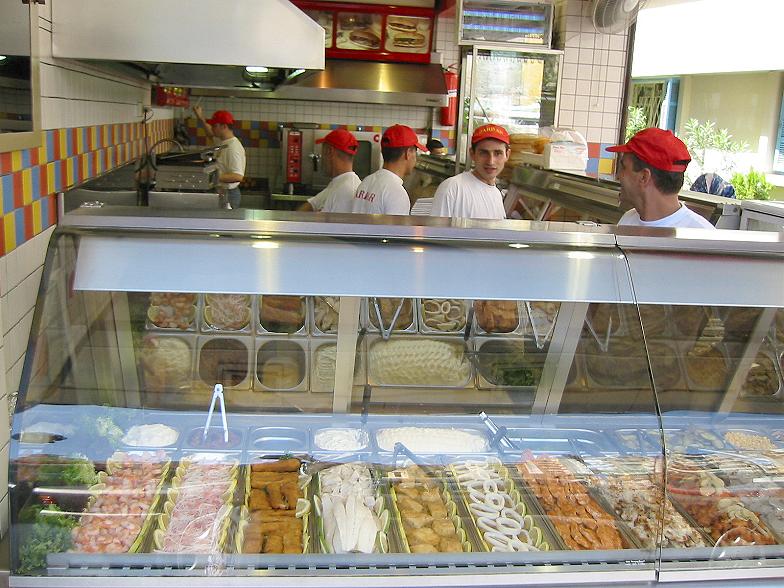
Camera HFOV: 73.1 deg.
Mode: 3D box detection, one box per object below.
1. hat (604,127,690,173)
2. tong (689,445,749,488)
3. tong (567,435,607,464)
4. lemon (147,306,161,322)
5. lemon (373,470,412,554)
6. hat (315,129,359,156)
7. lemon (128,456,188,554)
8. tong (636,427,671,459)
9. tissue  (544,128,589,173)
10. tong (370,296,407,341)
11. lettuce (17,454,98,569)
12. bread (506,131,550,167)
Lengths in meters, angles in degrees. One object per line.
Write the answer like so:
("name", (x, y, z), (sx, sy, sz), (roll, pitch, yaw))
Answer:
("hat", (1.112, -0.649, 2.307), (0.226, 0.135, 0.352), (-14, 32, -44))
("tong", (0.872, 0.468, 1.413), (0.122, 0.027, 0.113), (-1, 29, -11))
("tong", (0.519, 0.423, 1.429), (0.086, 0.070, 0.022), (-1, -22, 30))
("lemon", (-0.608, 0.050, 1.364), (0.036, 0.036, 0.023), (-5, 31, -22))
("lemon", (-0.001, 0.557, 1.327), (0.035, 0.054, 0.224), (-5, 54, -17))
("hat", (-0.396, -1.127, 3.821), (0.199, 0.153, 0.271), (-15, 52, -40))
("lemon", (-0.557, 0.510, 1.262), (0.130, 0.154, 0.053), (2, -28, -5))
("tong", (0.659, 0.377, 1.352), (0.081, 0.067, 0.023), (6, 4, 33))
("tissue ", (1.314, -1.129, 4.153), (0.356, 0.290, 0.250), (-2, 12, -14))
("tong", (-0.011, 0.060, 1.378), (0.146, 0.154, 0.023), (-1, 32, -8))
("lettuce", (-0.772, 0.498, 1.225), (0.170, 0.242, 0.101), (-7, 19, -24))
("bread", (1.188, -1.269, 4.610), (0.437, 0.237, 0.555), (2, 12, 5))
